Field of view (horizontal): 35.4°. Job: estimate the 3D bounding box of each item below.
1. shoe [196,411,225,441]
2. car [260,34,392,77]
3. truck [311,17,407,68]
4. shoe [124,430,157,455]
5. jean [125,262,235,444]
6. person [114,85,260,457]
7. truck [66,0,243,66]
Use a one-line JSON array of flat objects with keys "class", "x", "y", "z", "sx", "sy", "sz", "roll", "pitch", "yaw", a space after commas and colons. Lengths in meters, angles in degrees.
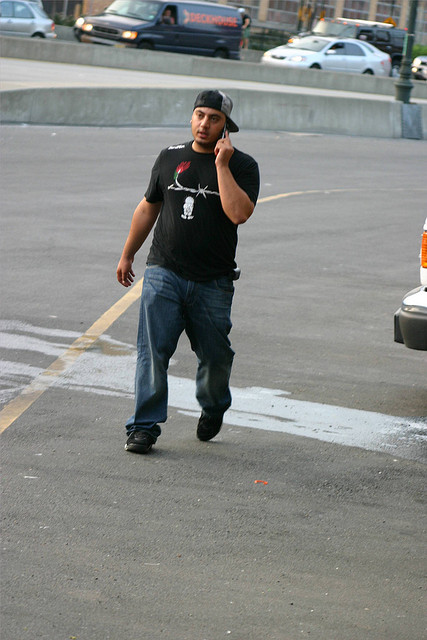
[{"class": "shoe", "x": -0.016, "y": 0.591, "z": 3.654, "sx": 0.097, "sy": 0.191, "sz": 0.087, "roll": 16, "pitch": 17, "yaw": -1}, {"class": "car", "x": 5.832, "y": -13.013, "z": 33.041, "sx": 6.620, "sy": 1.938, "sz": 1.643, "roll": -1, "pitch": 12, "yaw": -28}, {"class": "truck", "x": 8.822, "y": -16.249, "z": 40.453, "sx": 5.895, "sy": 3.017, "sz": 3.107, "roll": -10, "pitch": 21, "yaw": -31}, {"class": "shoe", "x": -0.381, "y": 0.624, "z": 3.405, "sx": 0.071, "sy": 0.080, "sz": 0.179, "roll": 41, "pitch": 1, "yaw": -2}, {"class": "jean", "x": -0.152, "y": 0.204, "z": 3.516, "sx": 0.533, "sy": 0.964, "sz": 0.330, "roll": 6, "pitch": 11, "yaw": 0}, {"class": "person", "x": -0.144, "y": -0.261, "z": 3.616, "sx": 0.744, "sy": 1.859, "sz": 0.781, "roll": 4, "pitch": 11, "yaw": -8}, {"class": "truck", "x": -2.023, "y": -13.495, "z": 30.908, "sx": 6.838, "sy": 2.944, "sz": 2.569, "roll": -3, "pitch": 13, "yaw": -35}]
